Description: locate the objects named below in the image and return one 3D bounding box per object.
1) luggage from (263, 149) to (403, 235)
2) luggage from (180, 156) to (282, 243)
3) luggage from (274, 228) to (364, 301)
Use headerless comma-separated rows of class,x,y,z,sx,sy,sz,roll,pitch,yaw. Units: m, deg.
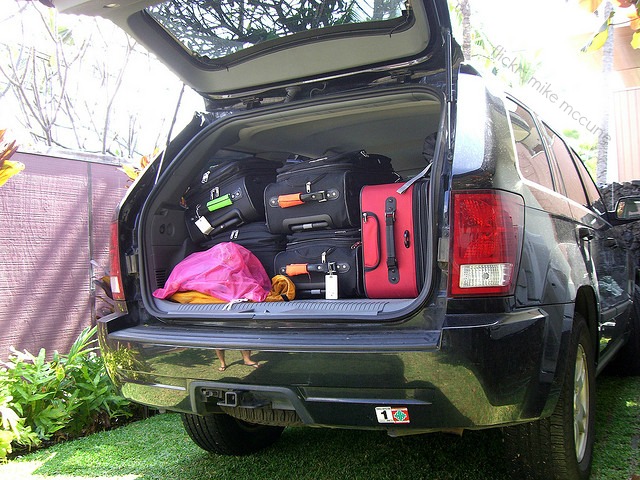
luggage,0.142,-0.319,2.662,0.780,0.417,0.810,-12,8,-40
luggage,-0.582,-0.228,2.823,0.563,0.374,0.465,-22,-12,25
luggage,0.054,0.156,2.494,0.543,0.346,0.423,-6,-1,25
